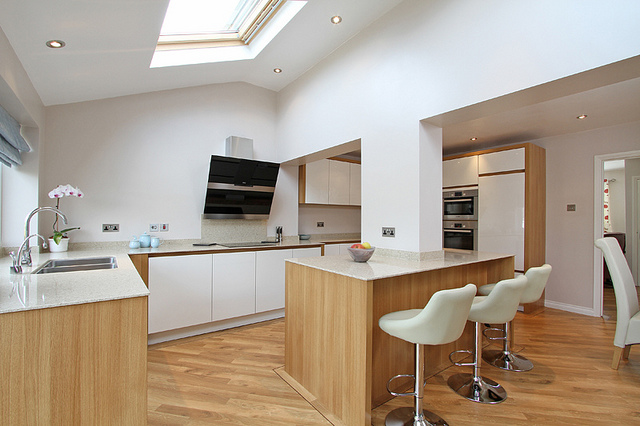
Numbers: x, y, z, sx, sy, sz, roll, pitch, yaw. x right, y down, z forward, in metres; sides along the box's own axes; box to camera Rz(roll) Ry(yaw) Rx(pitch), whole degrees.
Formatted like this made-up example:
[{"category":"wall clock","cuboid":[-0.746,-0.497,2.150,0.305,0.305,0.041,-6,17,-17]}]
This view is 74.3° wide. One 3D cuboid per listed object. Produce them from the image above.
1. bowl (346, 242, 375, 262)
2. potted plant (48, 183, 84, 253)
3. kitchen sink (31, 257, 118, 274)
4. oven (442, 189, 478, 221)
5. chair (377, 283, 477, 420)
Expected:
[{"category":"bowl","cuboid":[0.410,0.378,4.111,0.206,0.134,0.208,0,-6,0]},{"category":"potted plant","cuboid":[-2.796,0.044,4.627,0.318,0.770,0.484,3,-3,-32]},{"category":"kitchen sink","cuboid":[-2.343,0.496,4.090,0.669,0.126,0.568,2,-4,-28]},{"category":"oven","cuboid":[2.346,-0.076,6.928,0.604,0.552,0.404,-1,0,40]},{"category":"chair","cuboid":[0.841,1.202,3.669,0.577,1.200,0.752,2,-3,-31]}]
